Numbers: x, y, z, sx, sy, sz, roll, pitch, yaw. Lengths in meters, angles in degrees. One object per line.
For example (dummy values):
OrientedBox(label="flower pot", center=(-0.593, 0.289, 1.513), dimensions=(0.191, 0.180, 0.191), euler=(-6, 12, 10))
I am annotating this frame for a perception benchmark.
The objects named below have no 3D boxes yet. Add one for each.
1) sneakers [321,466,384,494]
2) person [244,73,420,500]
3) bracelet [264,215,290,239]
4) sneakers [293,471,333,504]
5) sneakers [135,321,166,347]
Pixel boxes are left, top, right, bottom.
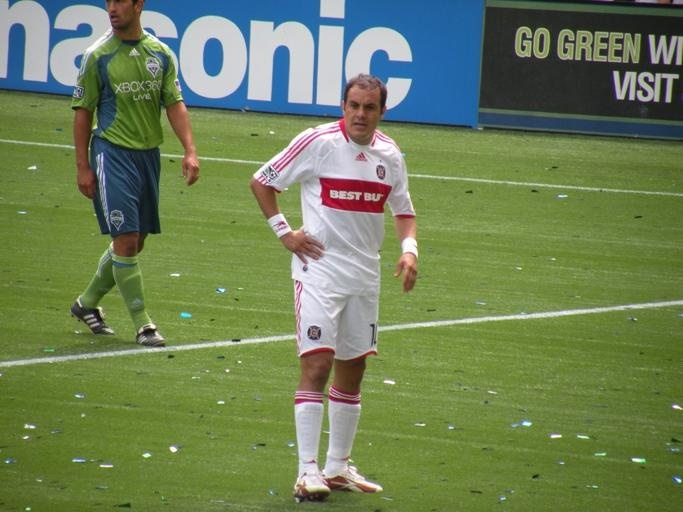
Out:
OrientedBox(label="sneakers", center=(0.095, 1.932, 12.617), dimensions=(0.629, 0.231, 0.196), euler=(5, -5, -7))
OrientedBox(label="person", center=(-0.043, 0.236, 12.471), dimensions=(1.377, 3.569, 0.785), euler=(0, 6, -2))
OrientedBox(label="bracelet", center=(-0.518, -0.252, 12.626), dimensions=(0.190, 0.219, 0.219), euler=(-38, -7, -2))
OrientedBox(label="sneakers", center=(-0.234, 1.963, 12.318), dimensions=(0.268, 0.222, 0.554), euler=(1, -5, -1))
OrientedBox(label="sneakers", center=(-1.834, 0.786, 14.153), dimensions=(0.173, 0.140, 0.323), euler=(-1, 0, -37))
